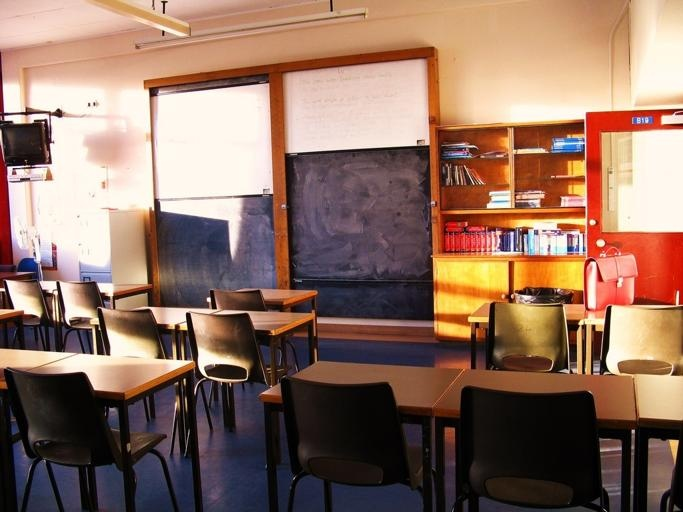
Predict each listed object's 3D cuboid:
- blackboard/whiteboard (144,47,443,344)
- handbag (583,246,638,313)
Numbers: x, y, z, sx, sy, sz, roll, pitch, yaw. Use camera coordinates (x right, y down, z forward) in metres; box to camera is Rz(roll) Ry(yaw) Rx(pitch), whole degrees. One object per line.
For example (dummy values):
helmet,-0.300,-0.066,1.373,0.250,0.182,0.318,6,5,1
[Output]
blackboard/whiteboard,-0.432,-0.823,7.455,4.067,3.389,0.561,1,5,24
handbag,2.419,0.220,5.330,0.622,0.541,0.215,-2,2,-36
